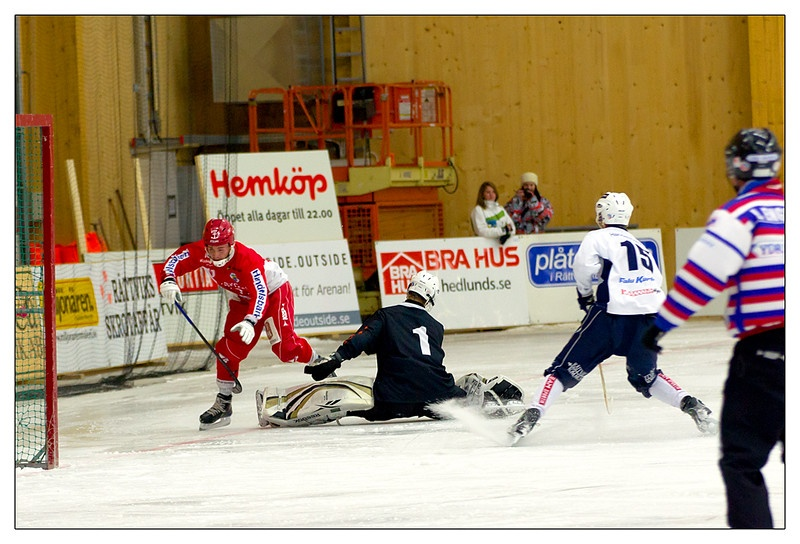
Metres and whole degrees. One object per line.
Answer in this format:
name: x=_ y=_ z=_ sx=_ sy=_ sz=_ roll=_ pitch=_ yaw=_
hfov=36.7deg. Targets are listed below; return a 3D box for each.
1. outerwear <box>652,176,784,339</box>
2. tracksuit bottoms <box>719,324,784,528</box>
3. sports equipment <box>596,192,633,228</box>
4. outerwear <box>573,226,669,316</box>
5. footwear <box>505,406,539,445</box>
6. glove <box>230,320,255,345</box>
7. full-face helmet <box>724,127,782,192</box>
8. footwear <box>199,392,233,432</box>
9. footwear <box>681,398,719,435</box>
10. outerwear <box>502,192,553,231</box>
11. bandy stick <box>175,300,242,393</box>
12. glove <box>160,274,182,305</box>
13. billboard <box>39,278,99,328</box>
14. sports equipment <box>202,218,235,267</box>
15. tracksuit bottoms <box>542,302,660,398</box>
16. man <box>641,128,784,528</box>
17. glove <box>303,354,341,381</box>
outerwear: x=3.408 y=-0.203 z=11.717 sx=1.815 sy=1.637 sz=0.942 roll=-13 pitch=13 yaw=-37
tracksuit bottoms: x=3.303 y=1.455 z=11.274 sx=0.582 sy=1.823 sz=0.515 roll=3 pitch=13 yaw=16
sports equipment: x=2.422 y=-0.669 z=13.691 sx=0.356 sy=0.483 sz=0.461 roll=1 pitch=-3 yaw=-7
outerwear: x=2.518 y=-0.001 z=13.575 sx=1.136 sy=1.202 sz=0.848 roll=-9 pitch=-2 yaw=-11
footwear: x=1.350 y=1.675 z=13.224 sx=0.563 sy=0.189 sz=0.237 roll=-48 pitch=1 yaw=22
glove: x=-1.834 y=0.708 z=13.903 sx=0.271 sy=0.334 sz=0.277 roll=-3 pitch=13 yaw=-8
full-face helmet: x=3.473 y=-1.088 z=11.781 sx=0.457 sy=0.640 sz=0.616 roll=-2 pitch=9 yaw=7
footwear: x=-2.185 y=1.619 z=14.151 sx=0.444 sy=0.358 sz=0.319 roll=-6 pitch=14 yaw=-24
footwear: x=3.301 y=1.582 z=13.366 sx=0.266 sy=0.463 sz=0.178 roll=-42 pitch=-5 yaw=-5
outerwear: x=2.112 y=-0.864 z=19.934 sx=0.630 sy=0.788 sz=0.504 roll=-6 pitch=-25 yaw=15
bandy stick: x=-2.580 y=1.020 z=16.026 sx=0.180 sy=1.320 sz=0.211 roll=-42 pitch=4 yaw=-40
glove: x=-2.830 y=0.215 z=14.697 sx=0.246 sy=0.353 sz=0.162 roll=-25 pitch=-3 yaw=15
billboard: x=-4.424 y=0.435 z=16.310 sx=0.171 sy=0.713 sz=0.719 roll=-11 pitch=-5 yaw=39
sports equipment: x=-2.102 y=-0.331 z=13.873 sx=0.344 sy=0.562 sz=0.495 roll=0 pitch=14 yaw=-3
tracksuit bottoms: x=2.348 y=0.944 z=13.881 sx=0.774 sy=0.857 sz=0.305 roll=27 pitch=8 yaw=-9
man: x=3.404 y=0.684 z=11.809 sx=1.595 sy=4.181 sz=1.179 roll=-7 pitch=7 yaw=-39
glove: x=-0.896 y=1.087 z=13.655 sx=0.358 sy=0.163 sz=0.362 roll=-28 pitch=-7 yaw=22
